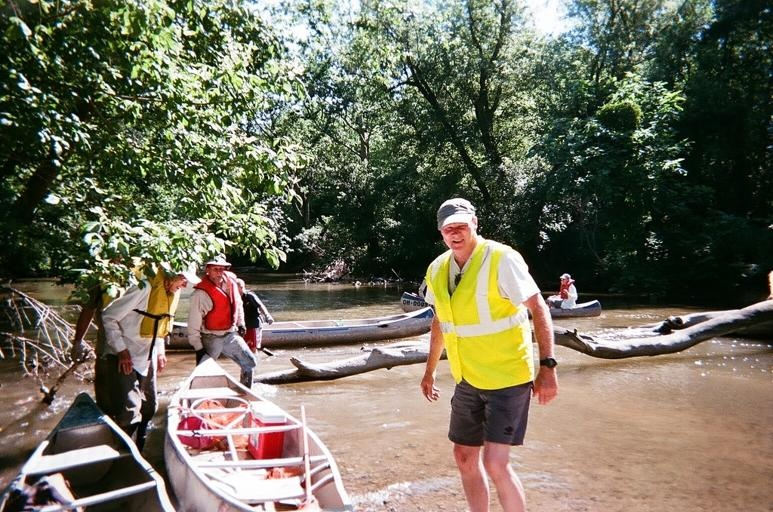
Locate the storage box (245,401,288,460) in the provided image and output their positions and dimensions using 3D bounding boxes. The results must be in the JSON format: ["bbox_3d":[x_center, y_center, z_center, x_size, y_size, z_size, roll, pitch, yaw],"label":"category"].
[{"bbox_3d":[-1.586,2.410,6.849,0.343,0.476,0.573,4,-10,-21],"label":"storage box"}]
